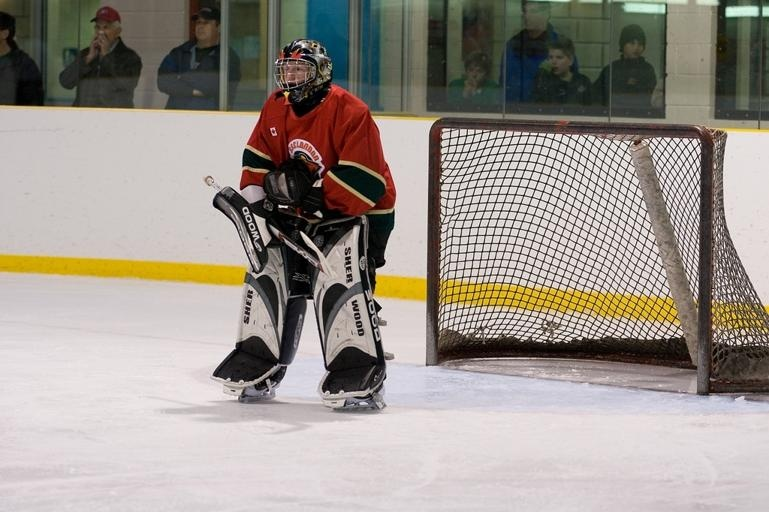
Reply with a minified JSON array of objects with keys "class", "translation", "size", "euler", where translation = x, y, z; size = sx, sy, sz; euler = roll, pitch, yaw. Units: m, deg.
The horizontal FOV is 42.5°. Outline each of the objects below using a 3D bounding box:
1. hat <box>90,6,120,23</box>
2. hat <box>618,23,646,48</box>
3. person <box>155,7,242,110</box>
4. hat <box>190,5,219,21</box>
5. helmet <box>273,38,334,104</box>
[{"class":"hat","translation":[-2.130,-1.853,7.587],"size":[0.119,0.085,0.158],"euler":[3,-8,19]},{"class":"hat","translation":[1.681,-1.485,6.671],"size":[0.173,0.152,0.048],"euler":[3,4,13]},{"class":"person","translation":[-1.381,-1.519,7.497],"size":[0.616,0.887,0.473],"euler":[15,6,22]},{"class":"hat","translation":[-1.345,-1.818,7.427],"size":[0.153,0.078,0.106],"euler":[22,-8,-37]},{"class":"helmet","translation":[-0.372,-0.865,4.634],"size":[0.238,0.278,0.299],"euler":[1,1,32]}]
